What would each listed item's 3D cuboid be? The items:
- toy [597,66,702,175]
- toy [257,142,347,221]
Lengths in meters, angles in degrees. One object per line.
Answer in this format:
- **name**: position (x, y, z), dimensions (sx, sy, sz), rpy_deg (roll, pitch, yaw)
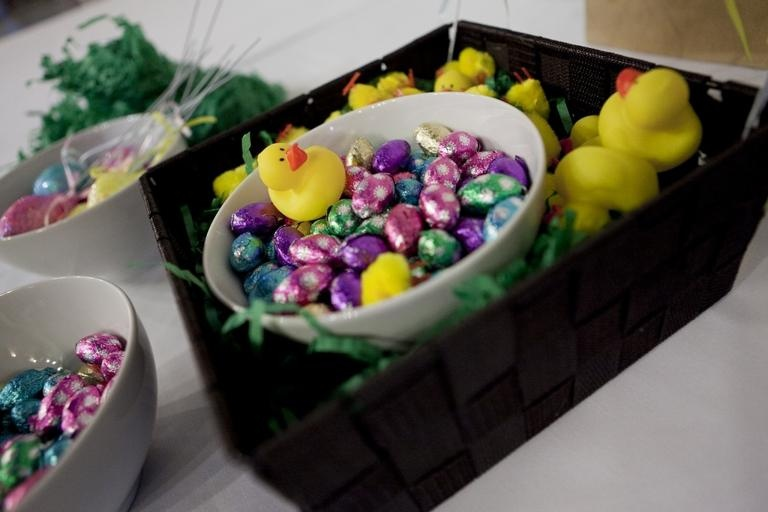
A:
- **toy**: position (0.370, -0.176, 0.834), dimensions (0.125, 0.126, 0.132), rpy_deg (-18, 34, 12)
- **toy**: position (-0.129, -0.120, 0.855), dimensions (0.082, 0.081, 0.082), rpy_deg (-12, 50, -17)
